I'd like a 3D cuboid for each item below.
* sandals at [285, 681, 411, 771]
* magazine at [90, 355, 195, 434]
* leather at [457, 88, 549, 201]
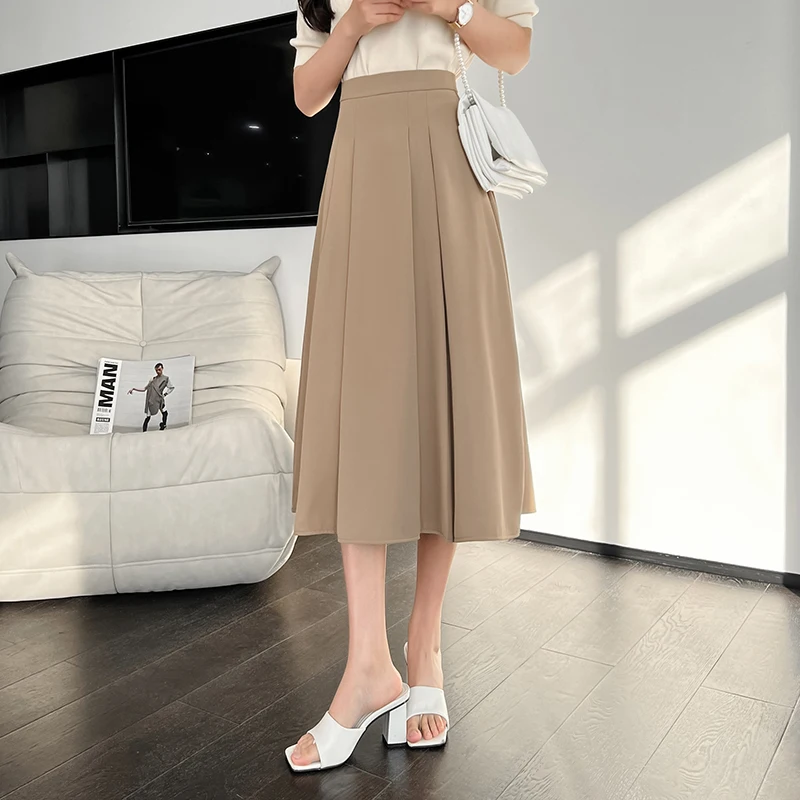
[{"bbox_3d":[-0.090,0.560,1.075,0.213,0.061,0.082,-34,16,-23],"label":"sandals"},{"bbox_3d":[-0.940,-0.013,2.232,0.252,0.246,0.037,-1,-22,-1],"label":"magazine"},{"bbox_3d":[0.177,-0.415,1.061,0.168,0.181,0.061,7,-28,-42],"label":"leather"}]
